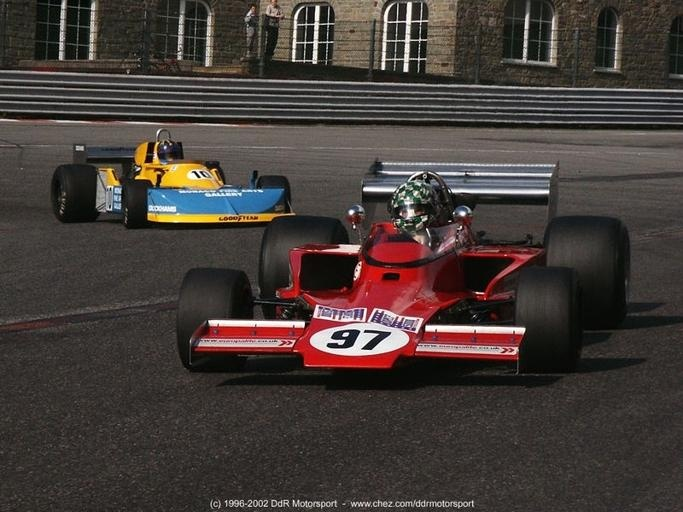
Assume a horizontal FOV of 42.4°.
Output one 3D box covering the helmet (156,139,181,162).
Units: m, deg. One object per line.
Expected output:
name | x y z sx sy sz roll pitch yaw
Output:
helmet | -2.276 -1.392 11.697 0.248 0.274 0.329 -12 8 -34

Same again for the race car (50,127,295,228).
race car | -2.149 -0.909 11.387 2.319 1.013 3.189 -8 11 -43

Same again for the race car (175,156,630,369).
race car | 0.376 0.115 6.267 2.741 1.036 3.376 2 7 20
